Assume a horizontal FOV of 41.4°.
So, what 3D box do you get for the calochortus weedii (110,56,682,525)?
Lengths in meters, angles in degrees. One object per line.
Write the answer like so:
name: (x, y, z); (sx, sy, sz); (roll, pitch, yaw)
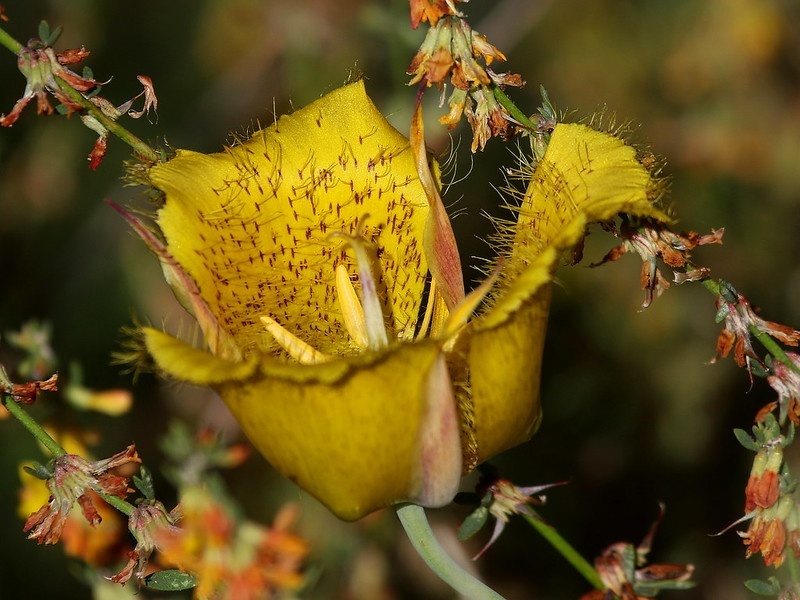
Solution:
calochortus weedii: (-0.005, 0.068, 1.811); (0.759, 0.560, 0.987); (-12, 32, 1)
